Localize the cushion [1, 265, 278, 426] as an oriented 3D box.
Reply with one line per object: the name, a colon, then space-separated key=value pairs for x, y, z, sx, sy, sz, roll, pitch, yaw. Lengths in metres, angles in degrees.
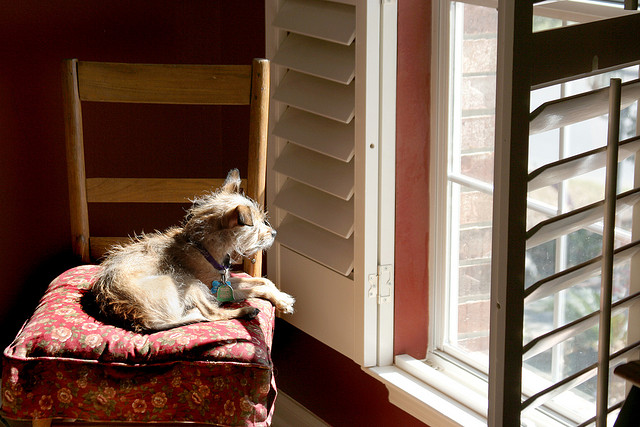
cushion: x=-0.471 y=0.375 z=1.596 sx=0.693 sy=0.326 sz=0.362 roll=-4 pitch=13 yaw=-4

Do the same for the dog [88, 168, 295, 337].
dog: x=-0.368 y=0.077 z=1.710 sx=0.516 sy=0.377 sz=0.339 roll=-7 pitch=19 yaw=-24
